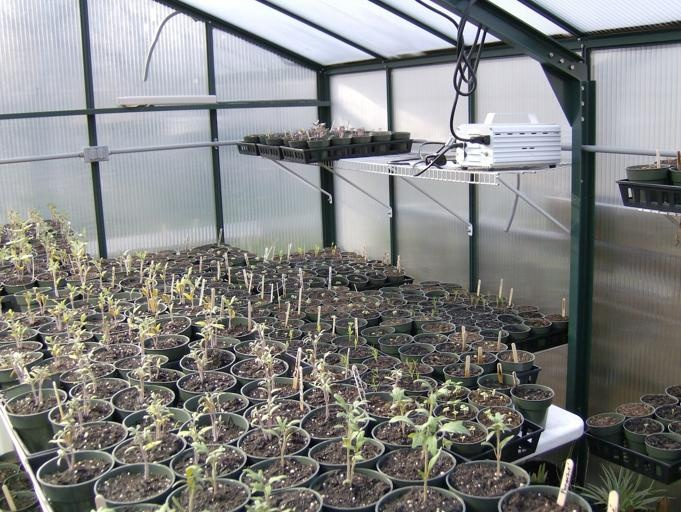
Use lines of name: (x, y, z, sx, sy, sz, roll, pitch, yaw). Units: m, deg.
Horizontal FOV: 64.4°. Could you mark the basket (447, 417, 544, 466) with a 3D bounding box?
basket: (0.737, 0.893, 2.596, 0.506, 0.172, 0.167, -5, 9, -28)
